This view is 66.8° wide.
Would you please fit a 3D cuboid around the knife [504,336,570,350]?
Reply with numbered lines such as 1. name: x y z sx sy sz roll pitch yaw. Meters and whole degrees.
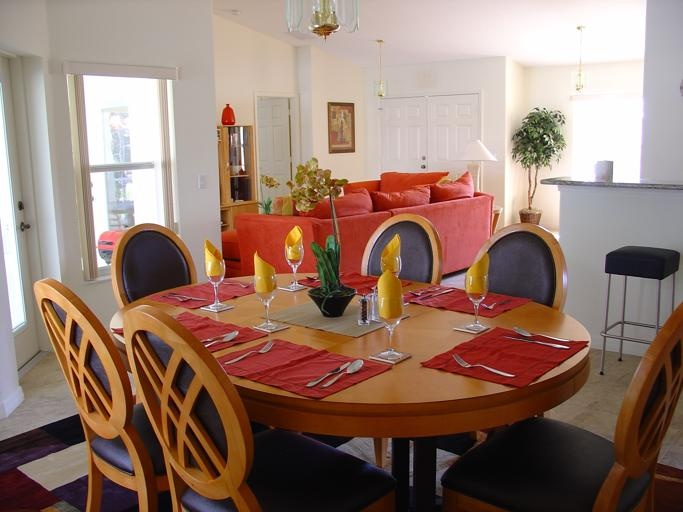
1. knife: 0.681 0.303 1.802 0.282 0.028 0.029 0 6 42

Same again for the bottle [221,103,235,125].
1. bottle: -1.692 -2.101 7.679 0.186 0.321 0.381 -5 14 -11

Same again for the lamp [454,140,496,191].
1. lamp: 2.103 -1.385 8.241 0.631 0.883 0.631 4 6 23

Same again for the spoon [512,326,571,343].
1. spoon: 0.723 0.286 1.874 0.199 0.031 0.035 2 2 45

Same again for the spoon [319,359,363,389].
1. spoon: 0.006 0.349 1.602 0.045 0.032 0.202 2 9 28

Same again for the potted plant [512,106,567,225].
1. potted plant: 3.340 -1.529 8.848 0.934 1.969 0.637 -11 17 -32

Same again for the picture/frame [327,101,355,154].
1. picture/frame: 0.002 -2.323 9.291 0.042 0.820 0.688 10 16 41

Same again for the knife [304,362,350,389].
1. knife: -0.043 0.370 1.589 0.025 0.027 0.227 6 7 28
